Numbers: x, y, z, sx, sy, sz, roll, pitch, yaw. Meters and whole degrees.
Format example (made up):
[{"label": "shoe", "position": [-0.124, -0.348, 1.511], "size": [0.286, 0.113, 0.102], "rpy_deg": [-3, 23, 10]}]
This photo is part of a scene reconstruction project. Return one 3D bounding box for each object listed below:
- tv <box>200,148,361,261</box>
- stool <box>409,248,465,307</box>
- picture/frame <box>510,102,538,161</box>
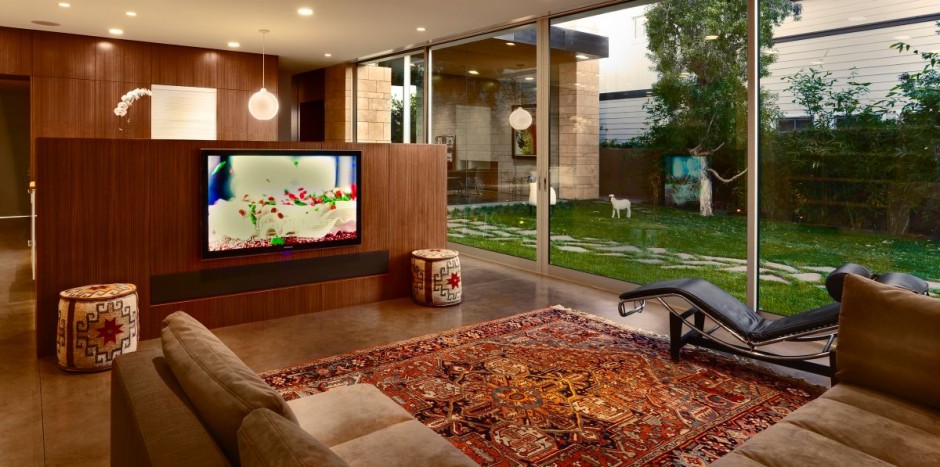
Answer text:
[{"label": "tv", "position": [-2.569, -0.408, 6.995], "size": [1.901, 1.031, 0.062], "rpy_deg": [-3, 10, -28]}, {"label": "stool", "position": [-0.456, 0.626, 7.846], "size": [0.840, 0.659, 0.824], "rpy_deg": [-3, 2, -44]}, {"label": "picture/frame", "position": [0.921, -1.739, 9.074], "size": [0.144, 0.883, 0.584], "rpy_deg": [-14, 16, -40]}]
